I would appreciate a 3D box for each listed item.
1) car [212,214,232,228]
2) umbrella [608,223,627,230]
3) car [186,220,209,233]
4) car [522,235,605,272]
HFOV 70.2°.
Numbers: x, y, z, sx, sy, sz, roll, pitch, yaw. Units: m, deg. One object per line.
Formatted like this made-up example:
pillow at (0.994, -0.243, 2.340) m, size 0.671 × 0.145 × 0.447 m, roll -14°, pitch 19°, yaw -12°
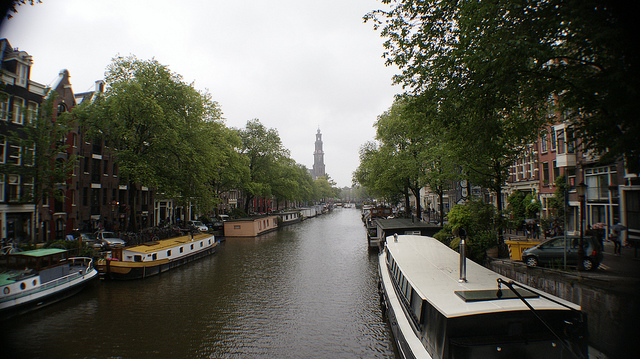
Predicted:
car at (-14.459, 5.911, 66.184) m, size 1.709 × 1.521 × 3.052 m, roll 2°, pitch -13°, yaw -30°
umbrella at (22.354, 3.542, 34.408) m, size 0.774 × 0.281 × 0.757 m, roll -7°, pitch 7°, yaw -39°
car at (-15.061, 5.734, 56.528) m, size 1.207 × 0.886 × 2.602 m, roll 4°, pitch -8°, yaw -45°
car at (17.574, 5.370, 33.200) m, size 4.684 × 2.112 × 2.768 m, roll 0°, pitch -5°, yaw 36°
